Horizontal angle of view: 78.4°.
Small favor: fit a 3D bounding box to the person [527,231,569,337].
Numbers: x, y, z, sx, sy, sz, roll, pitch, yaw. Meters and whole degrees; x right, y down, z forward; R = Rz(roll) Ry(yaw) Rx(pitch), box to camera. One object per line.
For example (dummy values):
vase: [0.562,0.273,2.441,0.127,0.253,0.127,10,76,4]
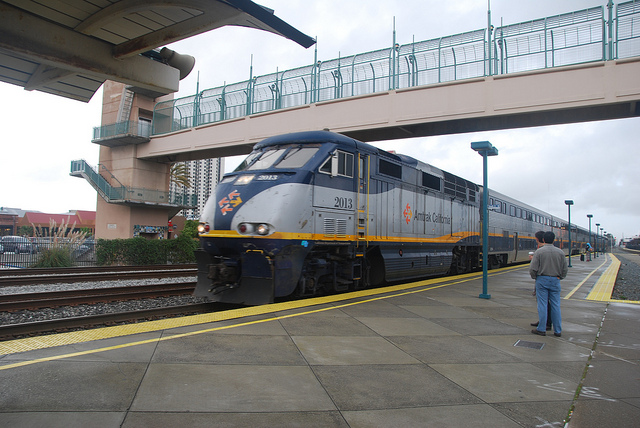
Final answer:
person: [5.048,1.515,8.724,0.705,1.774,1.075,3,2,30]
